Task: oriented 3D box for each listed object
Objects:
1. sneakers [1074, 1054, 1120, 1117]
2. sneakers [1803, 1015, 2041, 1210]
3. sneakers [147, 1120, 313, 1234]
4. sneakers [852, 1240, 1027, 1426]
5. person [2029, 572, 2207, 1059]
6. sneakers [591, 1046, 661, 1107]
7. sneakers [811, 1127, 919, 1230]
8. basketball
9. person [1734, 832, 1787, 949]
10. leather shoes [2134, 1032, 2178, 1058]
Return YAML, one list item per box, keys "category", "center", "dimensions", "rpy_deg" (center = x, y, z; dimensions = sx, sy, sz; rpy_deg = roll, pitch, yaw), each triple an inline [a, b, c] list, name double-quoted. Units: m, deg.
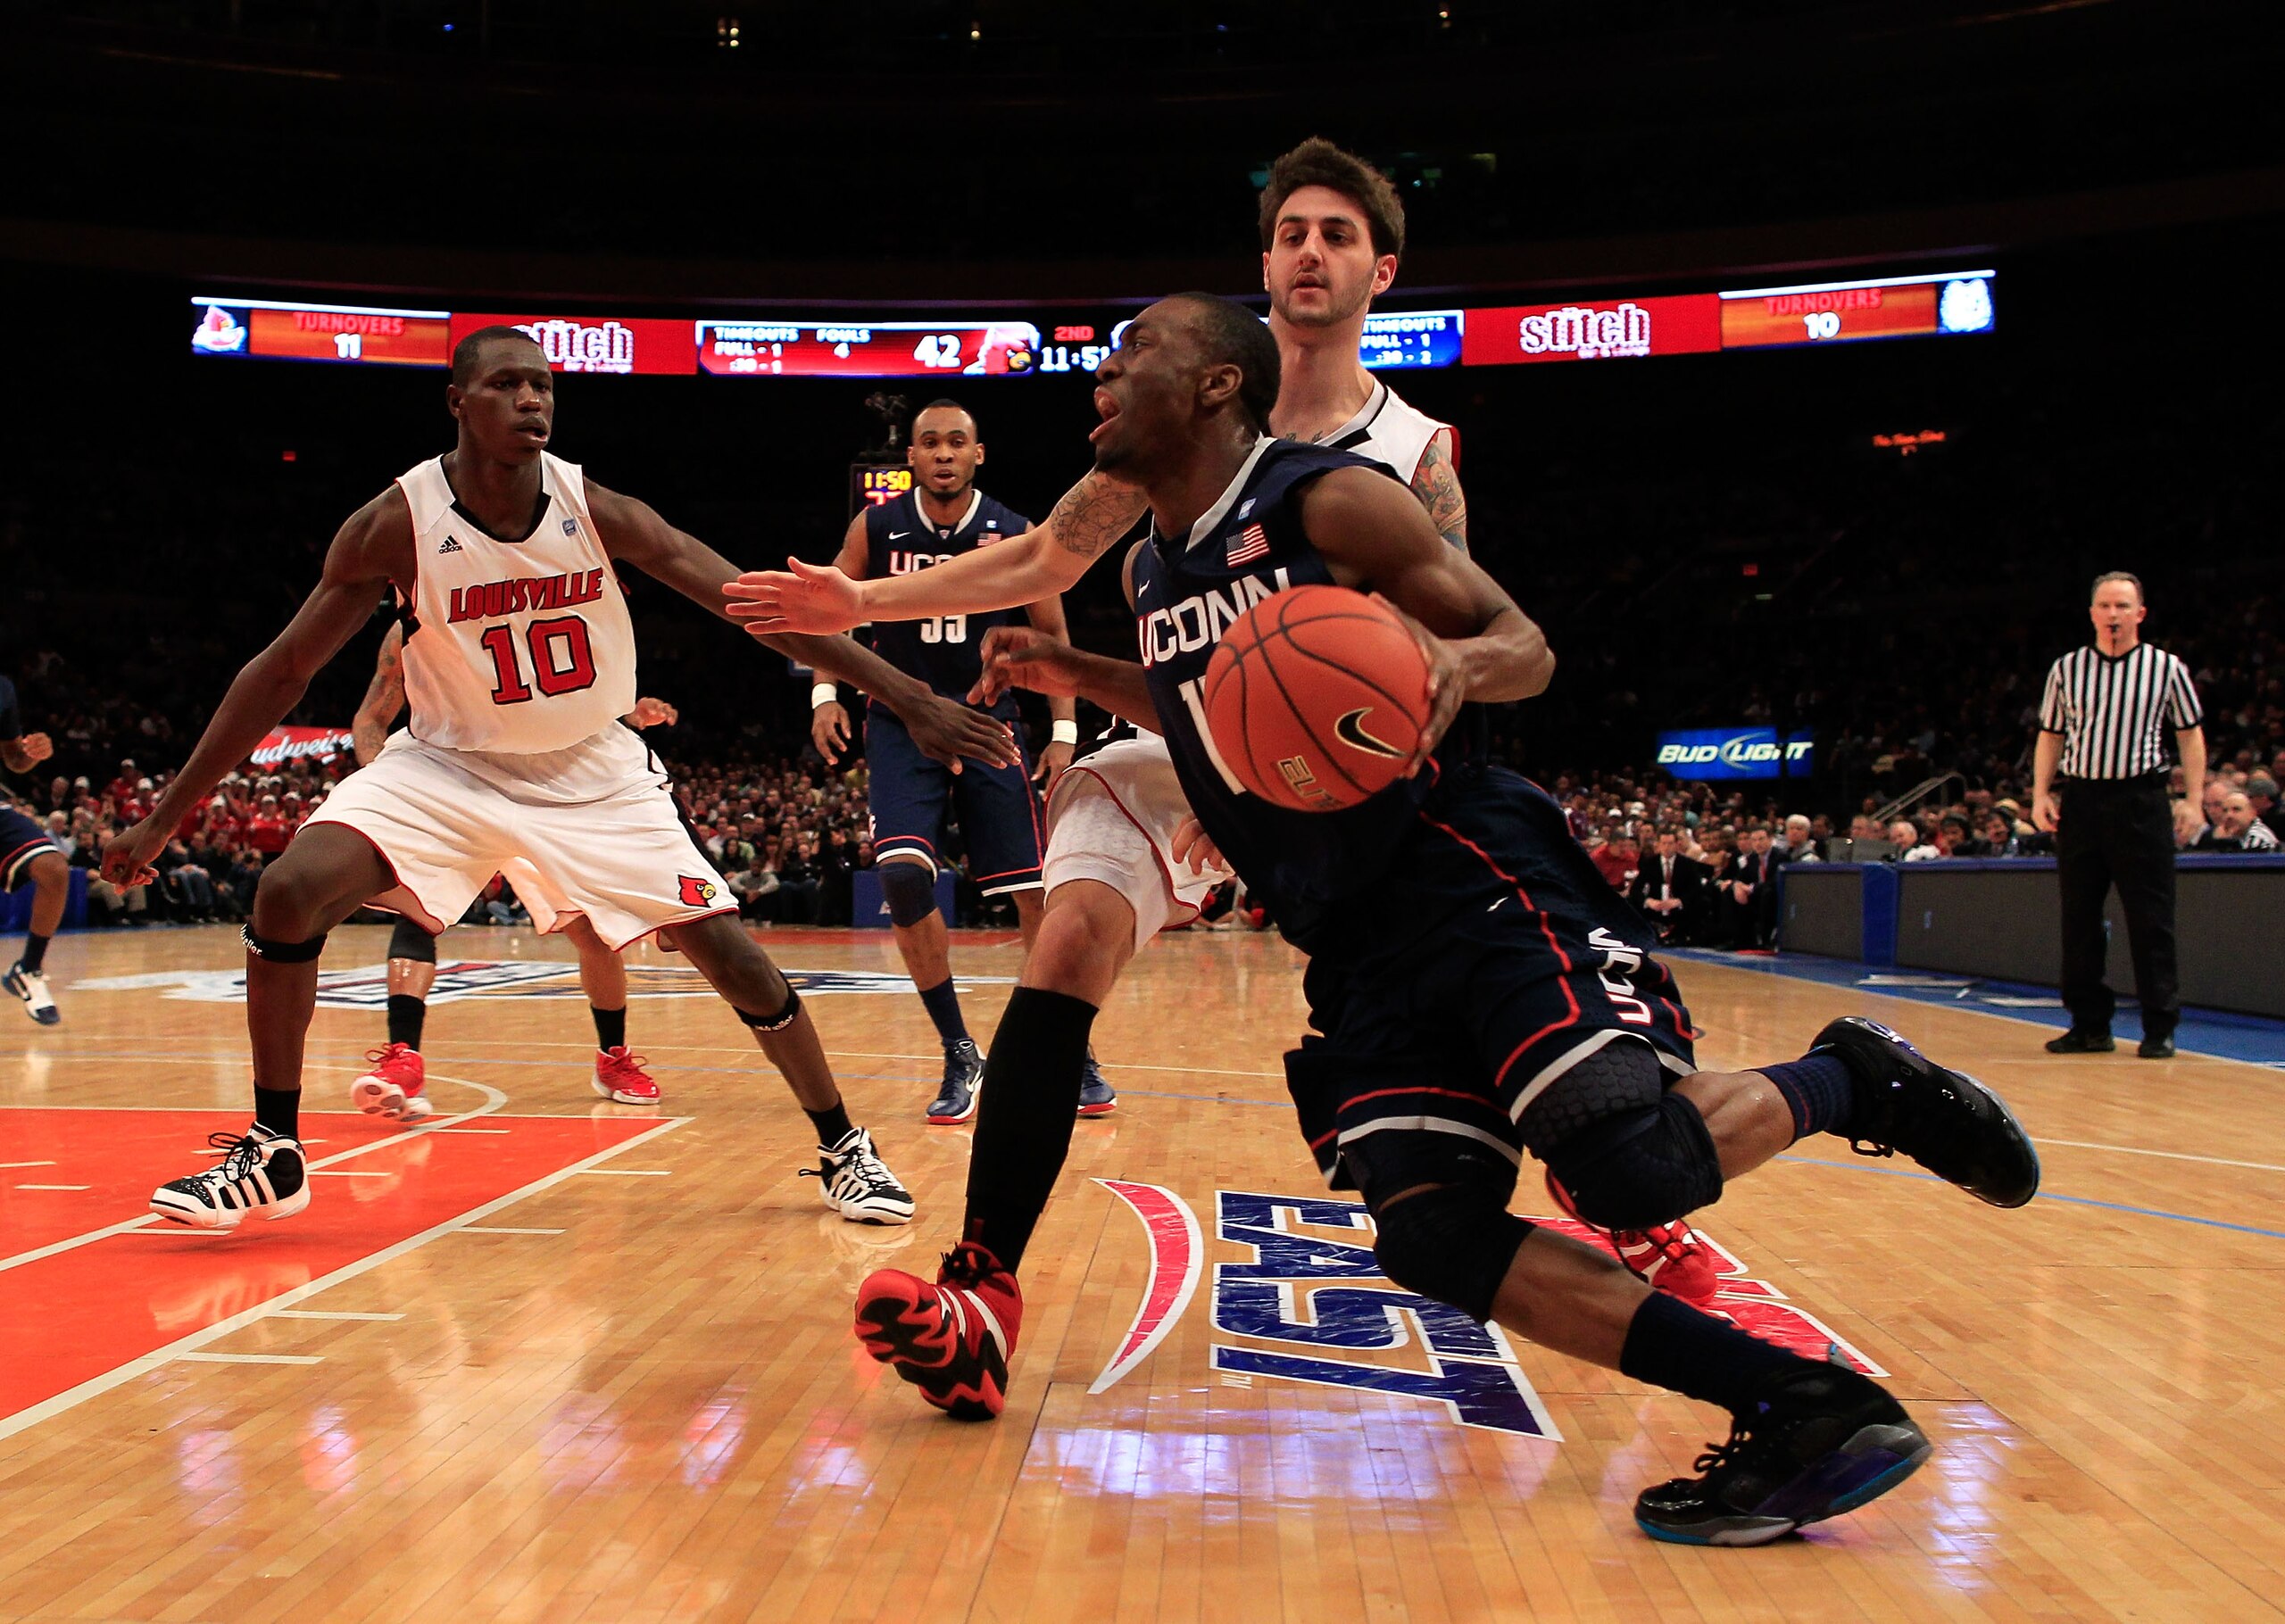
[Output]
- category: "sneakers"
  center: [-0.161, 0.958, 5.813]
  dimensions: [0.159, 0.179, 0.430]
  rpy_deg: [-2, -14, 2]
- category: "sneakers"
  center: [1.382, 0.534, 3.143]
  dimensions: [0.583, 0.231, 0.199]
  rpy_deg: [14, -20, 30]
- category: "sneakers"
  center: [-2.271, 0.910, 4.164]
  dimensions: [0.200, 0.249, 0.289]
  rpy_deg: [1, 2, 20]
- category: "sneakers"
  center: [-0.382, 0.911, 3.126]
  dimensions: [0.152, 0.410, 0.279]
  rpy_deg: [-17, 39, 19]
- category: "person"
  center: [4.538, -0.003, 7.817]
  dimensions: [0.662, 2.235, 0.556]
  rpy_deg: [1, 2, 28]
- category: "sneakers"
  center: [-1.914, 0.975, 6.198]
  dimensions: [0.146, 0.128, 0.288]
  rpy_deg: [4, -6, -42]
- category: "sneakers"
  center: [-0.733, 0.980, 4.458]
  dimensions: [0.137, 0.163, 0.370]
  rpy_deg: [-1, -9, -21]
- category: "basketball"
  center: [0.326, -0.158, 2.858]
  dimensions: [0.361, 0.349, 0.379]
  rpy_deg: [-6, -8, 24]
- category: "person"
  center: [6.251, 0.820, 16.978]
  dimensions: [0.520, 0.990, 1.375]
  rpy_deg: [-7, 42, 20]
- category: "leather shoes"
  center: [4.658, 1.076, 7.691]
  dimensions: [0.098, 0.114, 0.289]
  rpy_deg: [-11, -24, 31]
